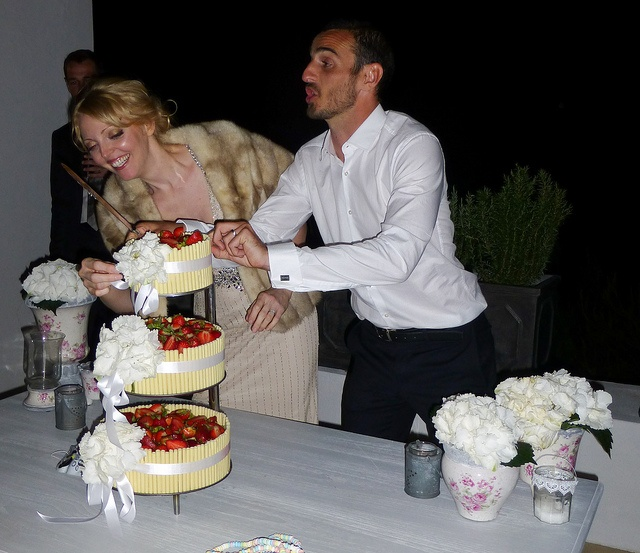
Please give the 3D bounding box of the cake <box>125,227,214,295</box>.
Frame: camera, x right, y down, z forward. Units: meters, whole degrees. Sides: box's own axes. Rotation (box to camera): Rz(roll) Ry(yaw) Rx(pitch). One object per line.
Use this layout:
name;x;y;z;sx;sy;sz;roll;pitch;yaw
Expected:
cake;-0.361;-0.034;1.479;0.167;0.129;0.174;6;11;40

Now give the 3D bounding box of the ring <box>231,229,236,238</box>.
ring;-0.266;-0.132;1.713;0.008;0.029;0.020;-19;35;-25

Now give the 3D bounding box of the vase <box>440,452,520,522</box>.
vase;0.381;0.498;1.371;0.166;0.153;0.174;1;-3;-19

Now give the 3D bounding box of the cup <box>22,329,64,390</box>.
cup;-0.987;0.281;1.999;0.127;0.207;0.126;-1;-11;0

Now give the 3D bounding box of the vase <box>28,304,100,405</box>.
vase;-0.970;0.299;2.168;0.238;0.421;0.256;-3;6;12

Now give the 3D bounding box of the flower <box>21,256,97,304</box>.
flower;-0.970;0.023;2.071;0.223;0.146;0.164;-2;10;-16

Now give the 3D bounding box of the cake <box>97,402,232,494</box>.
cake;-0.318;0.417;1.337;0.193;0.079;0.194;8;16;-2

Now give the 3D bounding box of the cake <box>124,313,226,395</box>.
cake;-0.352;0.194;1.410;0.184;0.163;0.236;3;10;16

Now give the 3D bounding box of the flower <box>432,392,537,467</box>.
flower;0.410;0.366;1.306;0.189;0.103;0.187;9;9;-2

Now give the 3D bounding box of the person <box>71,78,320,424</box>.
person;-0.505;0.048;2.481;0.916;1.933;0.794;-9;25;-13

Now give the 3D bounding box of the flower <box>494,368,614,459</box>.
flower;0.598;0.323;1.405;0.218;0.140;0.231;-6;13;-7
